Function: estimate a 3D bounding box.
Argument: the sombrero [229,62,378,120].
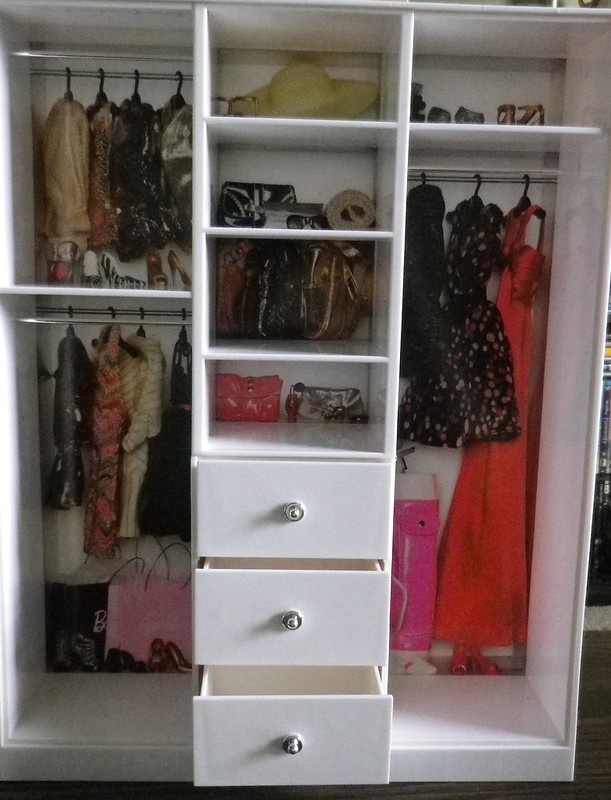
[{"bbox_3d":[0.010,-0.685,1.929,0.192,0.063,0.200,-19,30,-24],"label":"sombrero"}]

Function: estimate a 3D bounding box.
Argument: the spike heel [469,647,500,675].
[{"bbox_3d":[0.465,0.693,2.282,0.037,0.048,0.120,-5,17,-23],"label":"spike heel"}]

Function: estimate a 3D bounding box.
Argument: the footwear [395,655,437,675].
[{"bbox_3d":[0.291,0.700,2.259,0.056,0.032,0.080,1,1,-7],"label":"footwear"}]

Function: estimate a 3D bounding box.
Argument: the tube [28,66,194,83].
[{"bbox_3d":[-0.431,-0.726,1.909,0.357,0.027,0.012,1,6,1],"label":"tube"}]
